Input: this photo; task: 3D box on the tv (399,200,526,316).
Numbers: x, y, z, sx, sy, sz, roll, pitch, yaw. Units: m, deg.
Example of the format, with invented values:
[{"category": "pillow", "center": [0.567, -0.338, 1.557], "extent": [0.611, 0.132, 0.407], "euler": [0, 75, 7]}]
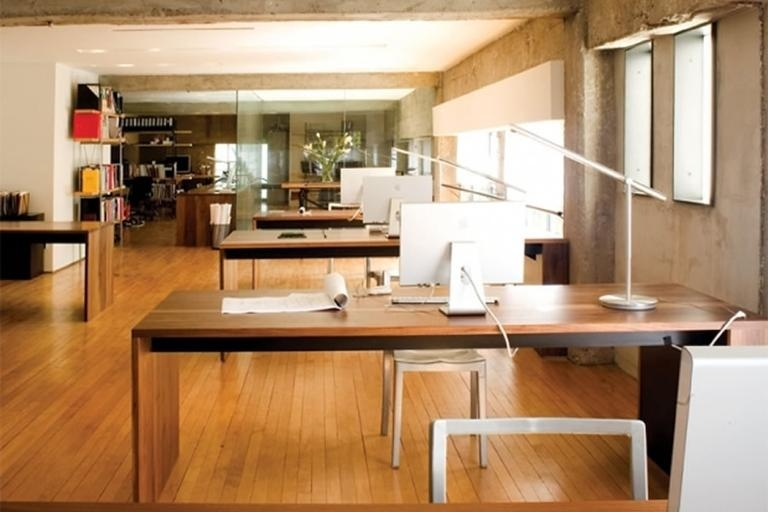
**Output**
[{"category": "tv", "center": [0.402, -0.047, 3.114], "extent": [0.645, 0.421, 0.222], "euler": [-1, 11, -9]}]

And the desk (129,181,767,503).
[{"category": "desk", "center": [0.153, 0.706, 3.254], "extent": [2.687, 0.954, 0.680], "euler": [-1, 11, -6]}]

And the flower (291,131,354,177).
[{"category": "flower", "center": [-0.907, -1.577, 9.880], "extent": [0.886, 0.752, 0.326], "euler": [-1, 11, -5]}]

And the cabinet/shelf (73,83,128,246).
[{"category": "cabinet/shelf", "center": [-4.234, -1.369, 9.379], "extent": [0.537, 1.749, 2.026], "euler": [-2, 11, -16]}]

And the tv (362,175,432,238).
[{"category": "tv", "center": [0.110, -0.445, 5.422], "extent": [0.616, 0.488, 0.265], "euler": [1, 11, 1]}]
